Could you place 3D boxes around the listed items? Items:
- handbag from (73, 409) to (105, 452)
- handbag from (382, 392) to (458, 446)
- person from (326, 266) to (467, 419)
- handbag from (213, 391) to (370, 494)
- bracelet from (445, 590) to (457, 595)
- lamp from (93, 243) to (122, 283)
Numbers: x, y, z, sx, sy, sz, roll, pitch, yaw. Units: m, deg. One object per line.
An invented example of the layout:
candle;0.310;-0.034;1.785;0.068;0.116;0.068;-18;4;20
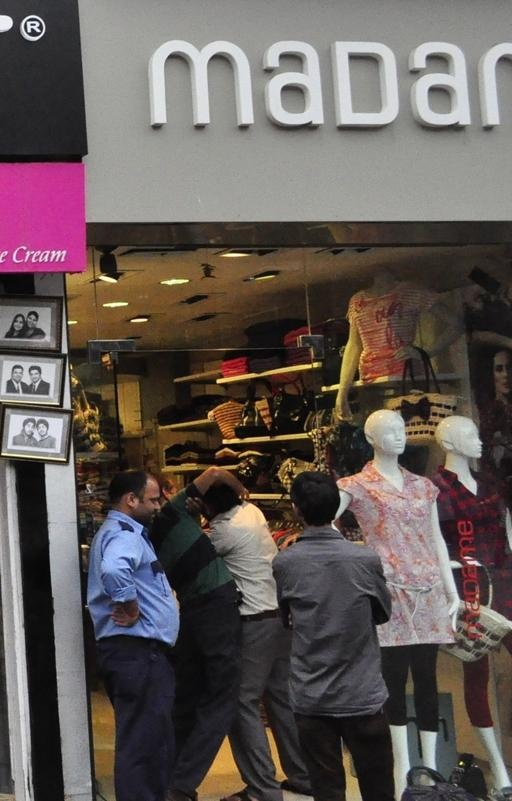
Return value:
handbag;-0.739;0.143;3.571;0.064;0.171;0.157;-3;-41;7
handbag;0.860;0.064;4.145;0.420;0.272;0.261;-1;0;10
person;0.683;-0.273;4.156;0.687;0.997;0.390;-4;-24;23
handbag;0.191;0.232;4.196;0.174;0.493;0.577;2;0;-45
bracelet;0.953;0.937;3.982;0.031;0.021;0.030;1;-7;-13
lamp;-0.666;-0.614;3.745;0.130;0.135;0.125;-4;19;-3
